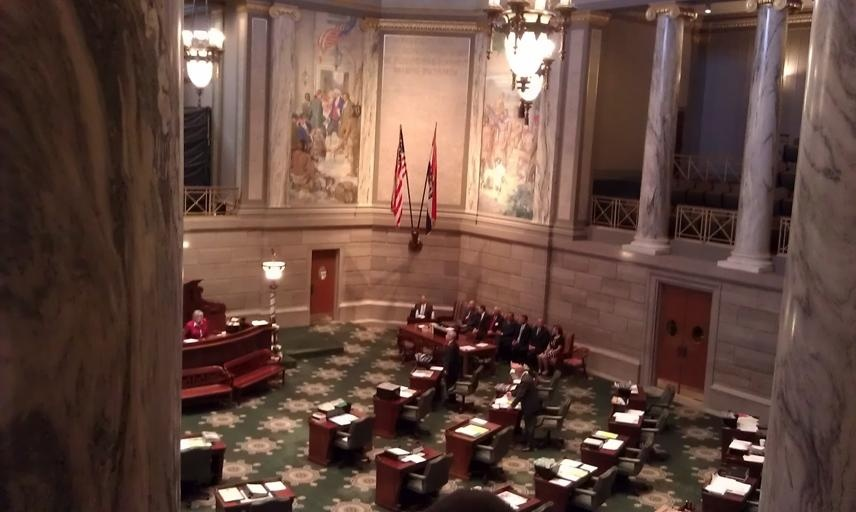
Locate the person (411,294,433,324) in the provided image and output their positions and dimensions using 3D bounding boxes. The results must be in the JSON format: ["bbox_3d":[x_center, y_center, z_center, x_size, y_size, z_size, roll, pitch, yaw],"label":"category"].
[{"bbox_3d":[-0.134,1.658,17.684,0.469,0.405,0.812,-1,28,6],"label":"person"}]

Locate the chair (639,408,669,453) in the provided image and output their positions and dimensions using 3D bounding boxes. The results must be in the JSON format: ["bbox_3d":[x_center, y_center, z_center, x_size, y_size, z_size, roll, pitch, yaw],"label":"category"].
[{"bbox_3d":[4.545,3.522,12.015,0.638,0.799,0.675,5,17,27],"label":"chair"}]

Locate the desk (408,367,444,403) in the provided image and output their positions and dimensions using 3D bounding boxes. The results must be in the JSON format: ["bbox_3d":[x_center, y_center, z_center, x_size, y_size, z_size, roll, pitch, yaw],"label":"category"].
[{"bbox_3d":[-0.036,2.728,13.407,0.597,1.043,1.064,0,9,10],"label":"desk"}]

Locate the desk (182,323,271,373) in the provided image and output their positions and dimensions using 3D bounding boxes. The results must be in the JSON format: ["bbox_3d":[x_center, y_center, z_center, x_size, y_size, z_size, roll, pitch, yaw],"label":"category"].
[{"bbox_3d":[-4.558,2.126,13.625,0.727,0.631,2.075,17,19,34],"label":"desk"}]

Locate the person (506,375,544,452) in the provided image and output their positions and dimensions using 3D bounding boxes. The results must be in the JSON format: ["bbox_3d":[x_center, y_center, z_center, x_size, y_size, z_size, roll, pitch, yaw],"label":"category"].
[{"bbox_3d":[1.938,2.975,12.071,0.712,1.666,0.537,-6,8,-6],"label":"person"}]

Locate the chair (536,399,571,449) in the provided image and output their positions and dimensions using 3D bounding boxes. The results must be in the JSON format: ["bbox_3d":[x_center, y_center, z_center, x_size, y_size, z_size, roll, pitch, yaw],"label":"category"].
[{"bbox_3d":[2.562,3.381,12.293,0.860,1.028,0.858,1,2,8],"label":"chair"}]

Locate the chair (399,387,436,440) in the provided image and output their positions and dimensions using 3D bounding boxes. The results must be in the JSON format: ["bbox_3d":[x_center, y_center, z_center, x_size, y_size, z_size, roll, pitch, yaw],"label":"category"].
[{"bbox_3d":[-0.220,3.232,12.231,0.647,0.998,0.723,17,18,24],"label":"chair"}]

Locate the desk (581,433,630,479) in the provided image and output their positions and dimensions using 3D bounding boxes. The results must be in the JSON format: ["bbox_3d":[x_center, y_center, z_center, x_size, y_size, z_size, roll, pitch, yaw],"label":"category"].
[{"bbox_3d":[3.163,3.448,10.729,0.648,0.628,0.535,12,26,32],"label":"desk"}]

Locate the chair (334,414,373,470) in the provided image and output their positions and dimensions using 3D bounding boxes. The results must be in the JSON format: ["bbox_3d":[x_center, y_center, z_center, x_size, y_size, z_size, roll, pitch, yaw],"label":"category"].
[{"bbox_3d":[-1.316,3.345,11.122,0.816,0.907,0.517,-7,15,-40],"label":"chair"}]

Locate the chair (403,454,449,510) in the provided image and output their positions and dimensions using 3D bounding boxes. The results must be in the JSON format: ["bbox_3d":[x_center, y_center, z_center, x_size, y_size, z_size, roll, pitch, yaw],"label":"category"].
[{"bbox_3d":[-0.013,3.695,9.925,0.725,0.917,0.473,-5,14,-35],"label":"chair"}]

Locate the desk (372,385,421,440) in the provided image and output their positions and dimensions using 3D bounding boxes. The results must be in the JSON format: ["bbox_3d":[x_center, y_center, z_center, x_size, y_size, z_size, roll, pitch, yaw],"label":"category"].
[{"bbox_3d":[-0.625,3.186,12.082,0.500,0.868,0.934,5,8,25],"label":"desk"}]

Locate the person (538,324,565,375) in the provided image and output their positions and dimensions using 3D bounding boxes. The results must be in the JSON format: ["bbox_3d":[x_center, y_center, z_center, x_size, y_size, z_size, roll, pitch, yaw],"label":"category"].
[{"bbox_3d":[3.329,2.509,15.938,0.557,1.153,1.004,10,14,30],"label":"person"}]

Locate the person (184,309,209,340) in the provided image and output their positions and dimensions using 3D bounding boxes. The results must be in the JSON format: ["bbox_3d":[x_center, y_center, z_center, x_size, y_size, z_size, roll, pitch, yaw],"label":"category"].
[{"bbox_3d":[-5.618,1.673,14.534,0.438,0.772,0.594,-6,-2,39],"label":"person"}]

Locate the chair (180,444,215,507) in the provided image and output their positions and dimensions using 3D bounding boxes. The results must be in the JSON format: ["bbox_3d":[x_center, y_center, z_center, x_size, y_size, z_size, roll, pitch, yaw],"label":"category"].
[{"bbox_3d":[-3.758,3.517,9.776,0.487,0.957,0.537,-2,13,-22],"label":"chair"}]

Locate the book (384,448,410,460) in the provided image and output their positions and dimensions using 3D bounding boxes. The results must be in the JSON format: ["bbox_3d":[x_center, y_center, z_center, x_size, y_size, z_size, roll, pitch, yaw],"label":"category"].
[{"bbox_3d":[-0.517,3.298,10.031,0.195,0.060,0.199,5,3,43],"label":"book"}]

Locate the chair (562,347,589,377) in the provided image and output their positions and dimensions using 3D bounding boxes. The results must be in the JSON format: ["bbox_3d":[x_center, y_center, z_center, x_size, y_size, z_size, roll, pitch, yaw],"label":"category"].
[{"bbox_3d":[3.910,2.833,15.973,0.584,0.749,0.872,12,15,38],"label":"chair"}]

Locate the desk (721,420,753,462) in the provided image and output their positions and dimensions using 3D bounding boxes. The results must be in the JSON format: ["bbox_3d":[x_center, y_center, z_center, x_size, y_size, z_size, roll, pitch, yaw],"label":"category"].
[{"bbox_3d":[5.828,3.484,11.243,0.711,0.504,0.385,-9,14,-38],"label":"desk"}]

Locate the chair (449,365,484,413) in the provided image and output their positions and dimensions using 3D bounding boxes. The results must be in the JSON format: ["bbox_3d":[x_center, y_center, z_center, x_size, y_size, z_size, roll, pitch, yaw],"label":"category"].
[{"bbox_3d":[0.813,2.917,13.646,0.624,1.020,1.076,3,12,1],"label":"chair"}]
